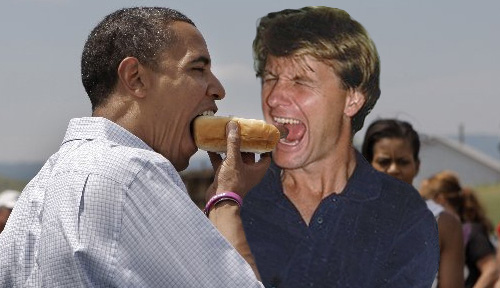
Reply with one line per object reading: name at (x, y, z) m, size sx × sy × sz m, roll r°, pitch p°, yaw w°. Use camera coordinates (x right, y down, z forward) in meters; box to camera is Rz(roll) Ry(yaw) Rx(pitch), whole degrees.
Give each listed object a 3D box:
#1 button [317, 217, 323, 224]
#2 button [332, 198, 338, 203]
button at (0.710, 0.763, 12.700) m, size 0.060 × 0.063 × 0.021 m, roll -4°, pitch -6°, yaw 9°
button at (0.860, 0.563, 12.721) m, size 0.032 × 0.041 × 0.016 m, roll -1°, pitch 2°, yaw 9°
